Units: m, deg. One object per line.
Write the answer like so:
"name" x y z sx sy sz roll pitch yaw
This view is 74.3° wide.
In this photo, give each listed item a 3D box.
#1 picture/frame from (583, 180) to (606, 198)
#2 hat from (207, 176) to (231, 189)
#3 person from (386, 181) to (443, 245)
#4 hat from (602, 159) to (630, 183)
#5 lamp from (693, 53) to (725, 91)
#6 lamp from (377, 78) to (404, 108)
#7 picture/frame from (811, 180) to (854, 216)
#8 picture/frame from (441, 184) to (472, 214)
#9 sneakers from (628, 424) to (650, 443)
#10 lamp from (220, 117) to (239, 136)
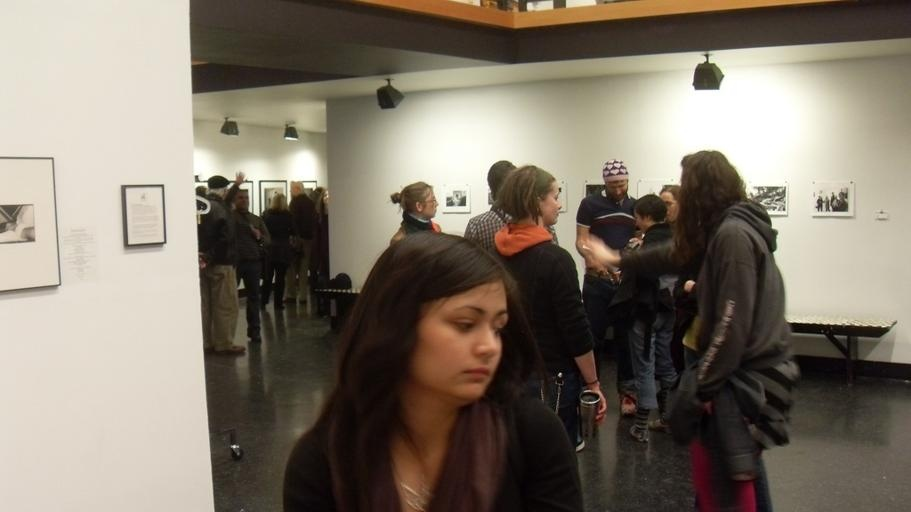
"picture/frame" 1.932 -0.934 8.331 0.394 0.321 0.046 3 8 27
"hat" -3.448 -1.053 8.822 0.258 0.163 0.337 -1 1 0
"person" -0.498 -0.500 7.316 0.564 0.772 0.912 0 20 1
"hat" 1.870 -0.976 7.074 0.348 0.264 0.355 -1 8 25
"lamp" 3.159 -2.293 7.660 0.427 0.520 0.419 0 -3 12
"lamp" -0.983 -2.405 8.946 0.331 0.445 0.851 -1 6 -6
"picture/frame" 4.885 -0.753 7.761 0.487 0.442 0.054 1 2 22
"picture/frame" 0.035 -0.906 9.609 0.464 0.409 0.047 5 4 19
"sneakers" 1.896 1.817 6.171 0.125 0.109 0.254 0 7 9
"lamp" -4.560 -2.567 12.264 0.456 0.416 0.384 -3 17 -32
